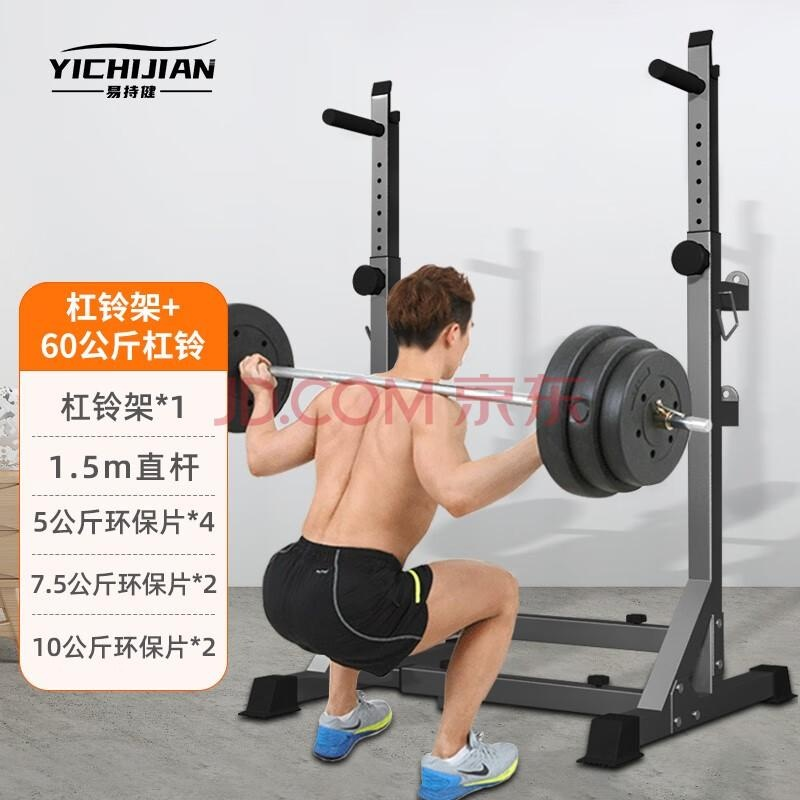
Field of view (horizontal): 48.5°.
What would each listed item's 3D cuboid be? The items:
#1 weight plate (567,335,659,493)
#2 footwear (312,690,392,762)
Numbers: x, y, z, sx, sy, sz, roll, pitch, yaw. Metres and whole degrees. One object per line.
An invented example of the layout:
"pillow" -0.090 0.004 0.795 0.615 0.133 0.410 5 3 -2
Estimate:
"weight plate" 0.309 0.020 1.318 0.055 0.202 0.191 3 -19 45
"footwear" -0.093 0.638 1.760 0.066 0.083 0.201 1 9 32
